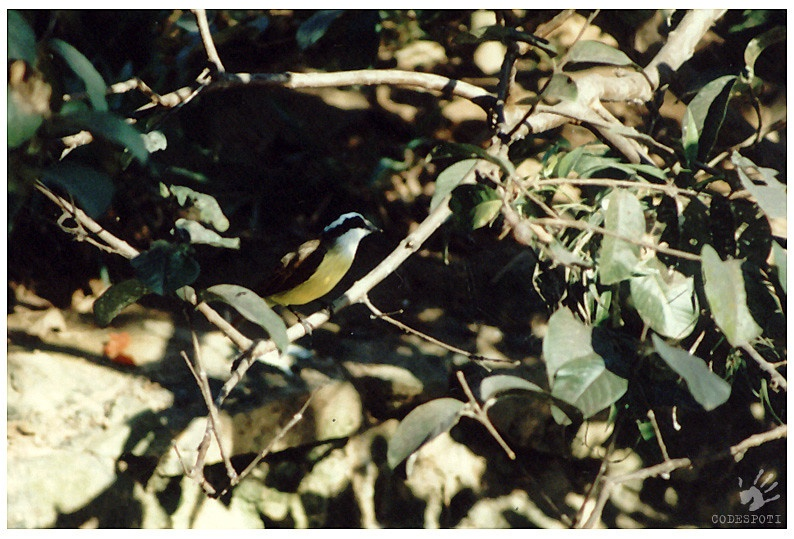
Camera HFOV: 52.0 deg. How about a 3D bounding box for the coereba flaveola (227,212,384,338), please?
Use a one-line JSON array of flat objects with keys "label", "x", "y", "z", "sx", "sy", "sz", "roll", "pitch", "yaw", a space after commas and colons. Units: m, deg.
[{"label": "coereba flaveola", "x": -0.546, "y": 0.019, "z": 4.590, "sx": 0.937, "sy": 0.648, "sz": 0.346, "roll": 2, "pitch": -5, "yaw": 30}]
